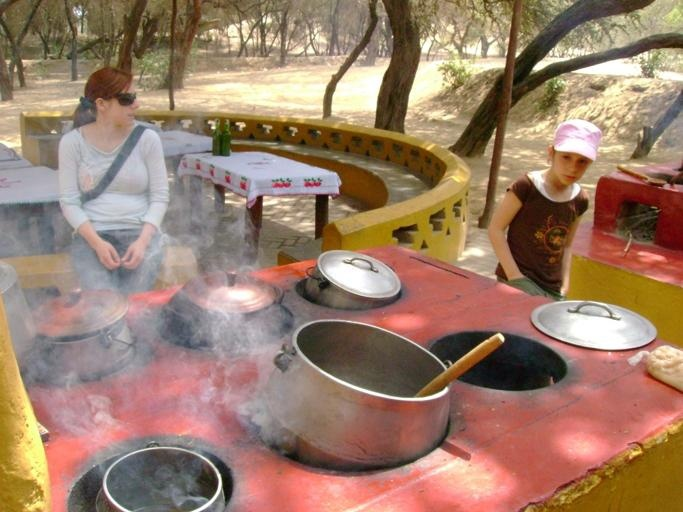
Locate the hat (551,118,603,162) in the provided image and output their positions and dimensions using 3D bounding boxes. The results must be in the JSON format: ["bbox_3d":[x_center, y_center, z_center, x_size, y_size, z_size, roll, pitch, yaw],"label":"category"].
[{"bbox_3d":[1.290,-0.614,2.901,0.231,0.210,0.290,13,22,19],"label":"hat"}]

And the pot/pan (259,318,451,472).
[{"bbox_3d":[0.031,0.422,1.751,0.484,0.264,0.482,3,21,-15],"label":"pot/pan"}]

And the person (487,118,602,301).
[{"bbox_3d":[1.215,-0.254,3.135,0.710,1.056,0.479,-10,26,-32],"label":"person"}]
